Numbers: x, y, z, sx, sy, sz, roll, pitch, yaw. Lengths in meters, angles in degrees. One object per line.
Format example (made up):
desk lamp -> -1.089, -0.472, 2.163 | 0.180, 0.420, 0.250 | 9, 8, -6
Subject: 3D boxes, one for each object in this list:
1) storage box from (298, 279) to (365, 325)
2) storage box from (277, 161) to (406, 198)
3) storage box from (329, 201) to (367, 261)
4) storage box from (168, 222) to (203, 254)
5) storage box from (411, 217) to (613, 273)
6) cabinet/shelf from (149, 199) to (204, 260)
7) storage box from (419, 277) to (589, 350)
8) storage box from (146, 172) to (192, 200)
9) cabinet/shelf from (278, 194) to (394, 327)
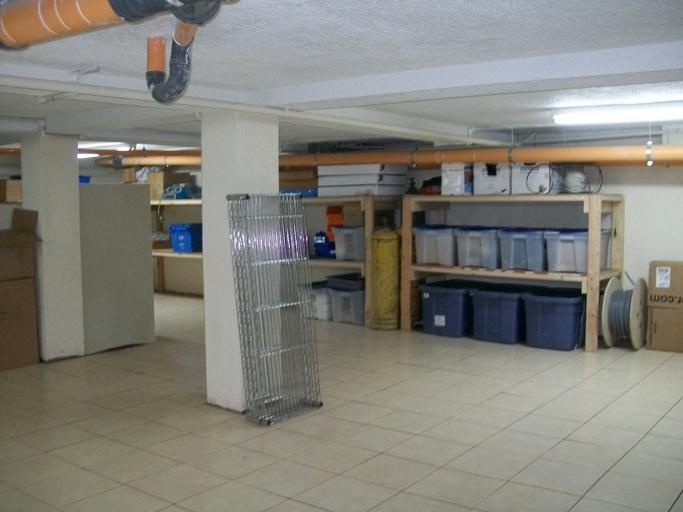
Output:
storage box -> -0.090, 0.733, 8.672 | 0.969, 0.455, 0.659 | 1, 2, 34
storage box -> 0.301, -1.195, 8.385 | 1.370, 0.500, 0.551 | -1, 7, 1
storage box -> 0.117, -0.414, 8.610 | 0.636, 0.912, 0.939 | -2, -3, 18
storage box -> -2.613, -0.315, 9.237 | 0.490, 0.384, 0.636 | -1, -2, 20
storage box -> 2.139, -0.112, 7.351 | 2.329, 0.571, 0.324 | 4, 9, 34
cabinet/shelf -> -2.941, -0.503, 9.582 | 1.272, 0.817, 0.715 | 1, 3, 30
storage box -> 2.206, 0.819, 7.377 | 2.087, 0.719, 0.369 | 4, 8, 33
storage box -> -3.483, -1.447, 10.815 | 0.817, 0.567, 0.544 | -4, 7, -22
cabinet/shelf -> 0.238, -0.050, 9.582 | 1.866, 2.432, 2.461 | 1, 5, 26
